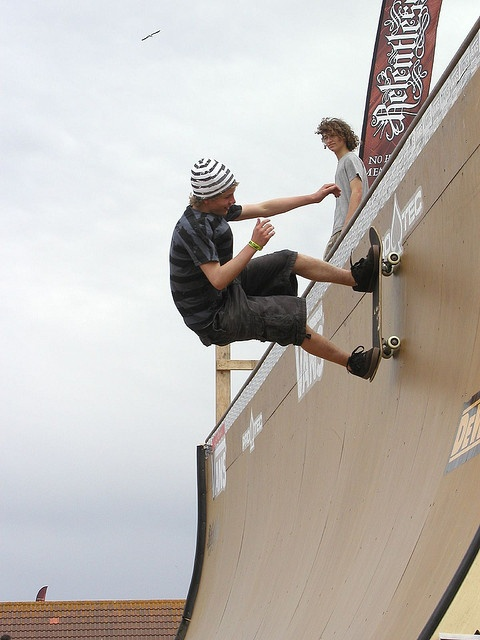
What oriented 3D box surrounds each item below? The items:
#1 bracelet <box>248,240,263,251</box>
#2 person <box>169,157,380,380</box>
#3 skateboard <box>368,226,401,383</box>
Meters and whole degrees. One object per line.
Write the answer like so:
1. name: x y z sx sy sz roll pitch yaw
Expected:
1. bracelet: 0.087 -0.429 6.222 0.069 0.077 0.159 0 -9 0
2. person: 0.103 -0.438 6.700 1.242 1.017 1.461 -6 -55 8
3. skateboard: 0.779 -0.094 6.229 0.132 0.838 0.188 3 -5 -12
